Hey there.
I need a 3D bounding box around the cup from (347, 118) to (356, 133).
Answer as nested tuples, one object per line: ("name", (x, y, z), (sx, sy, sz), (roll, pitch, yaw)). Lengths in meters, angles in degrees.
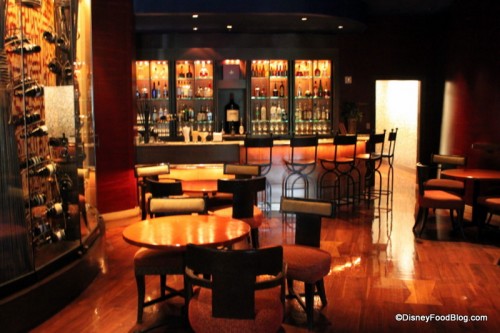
("cup", (2.411, -0.960, 9.699), (0.275, 0.427, 0.299), (0, 6, 0))
